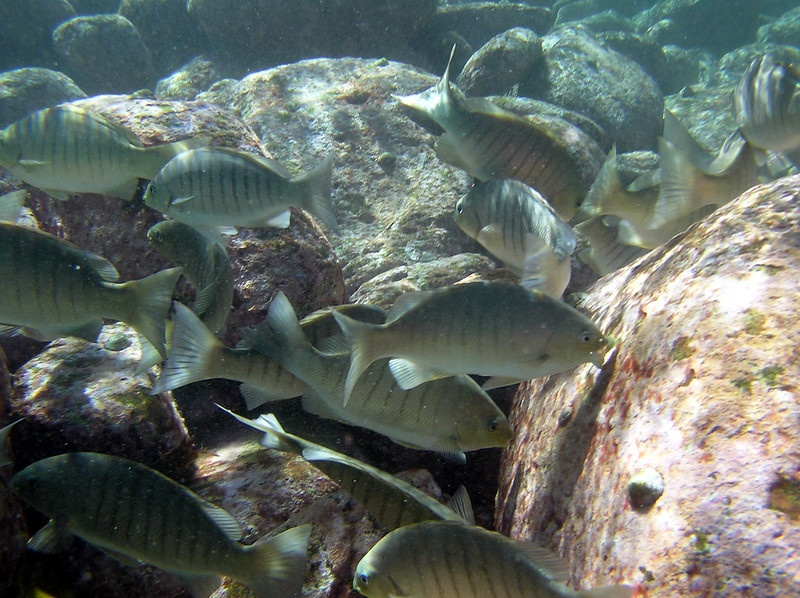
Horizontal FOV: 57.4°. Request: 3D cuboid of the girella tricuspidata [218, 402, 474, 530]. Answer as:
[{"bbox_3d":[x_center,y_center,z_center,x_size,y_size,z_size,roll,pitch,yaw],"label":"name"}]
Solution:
[{"bbox_3d":[-0.334,1.212,5.156,0.290,1.105,0.401,-58,-13,-16],"label":"girella tricuspidata"}]
